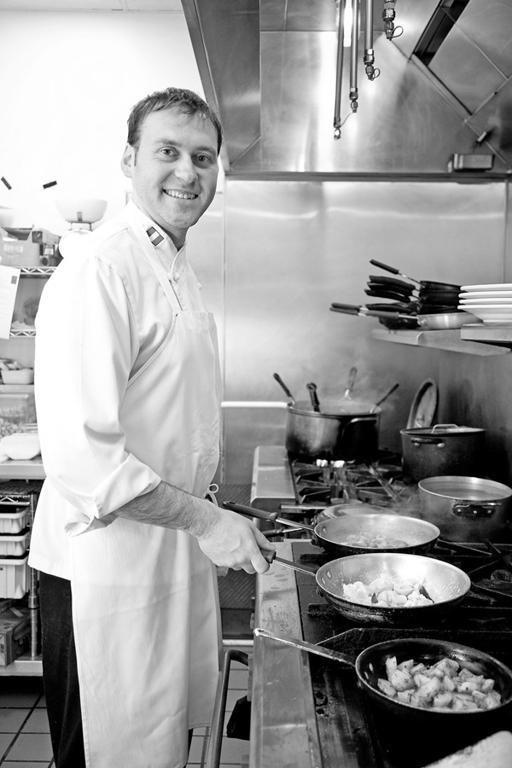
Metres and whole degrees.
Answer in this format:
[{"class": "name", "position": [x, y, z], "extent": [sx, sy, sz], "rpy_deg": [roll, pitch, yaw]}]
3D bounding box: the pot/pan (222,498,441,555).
[{"class": "pot/pan", "position": [0.189, 0.281, 1.202], "extent": [0.279, 0.040, 0.157], "rpy_deg": [-1, 0, 25]}]

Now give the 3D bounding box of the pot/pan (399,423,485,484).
[{"class": "pot/pan", "position": [0.471, 0.182, 1.618], "extent": [0.220, 0.153, 0.185], "rpy_deg": [0, 0, -29]}]

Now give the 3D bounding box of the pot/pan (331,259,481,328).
[{"class": "pot/pan", "position": [0.418, -0.218, 1.679], "extent": [0.247, 0.153, 0.384], "rpy_deg": [12, 11, 42]}]
